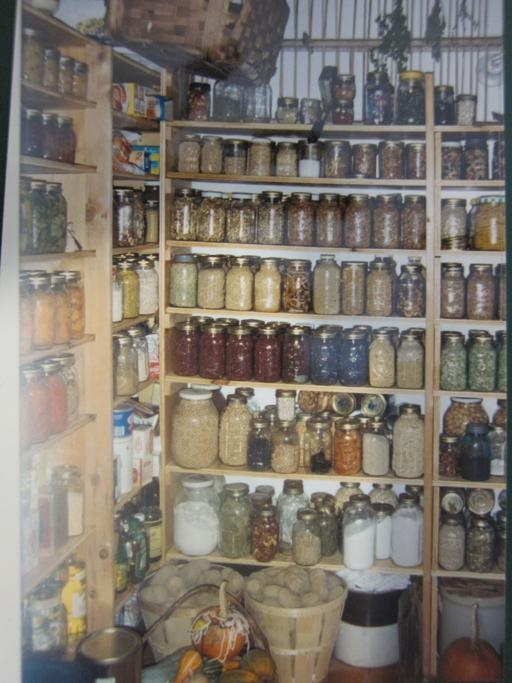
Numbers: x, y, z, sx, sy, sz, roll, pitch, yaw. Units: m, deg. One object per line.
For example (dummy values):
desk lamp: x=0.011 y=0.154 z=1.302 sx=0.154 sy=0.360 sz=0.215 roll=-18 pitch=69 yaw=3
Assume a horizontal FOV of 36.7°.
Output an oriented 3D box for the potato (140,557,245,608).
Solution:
potato: x=-0.138 y=0.481 z=1.554 sx=0.170 sy=0.052 sz=0.130 roll=-2 pitch=13 yaw=1
